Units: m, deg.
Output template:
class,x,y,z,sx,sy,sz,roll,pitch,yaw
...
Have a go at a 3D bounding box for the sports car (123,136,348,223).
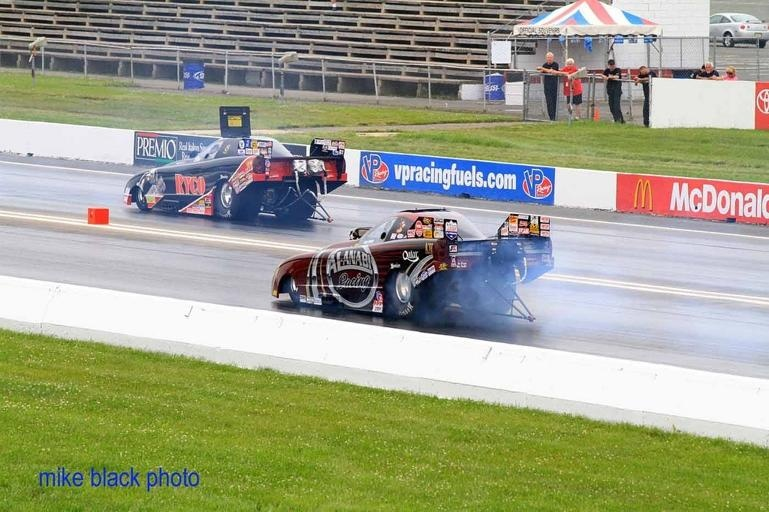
class,x,y,z,sx,sy,sz,roll,pitch,yaw
sports car,-4.319,-2.273,54.917,5.081,1.662,2.796,10,12,33
